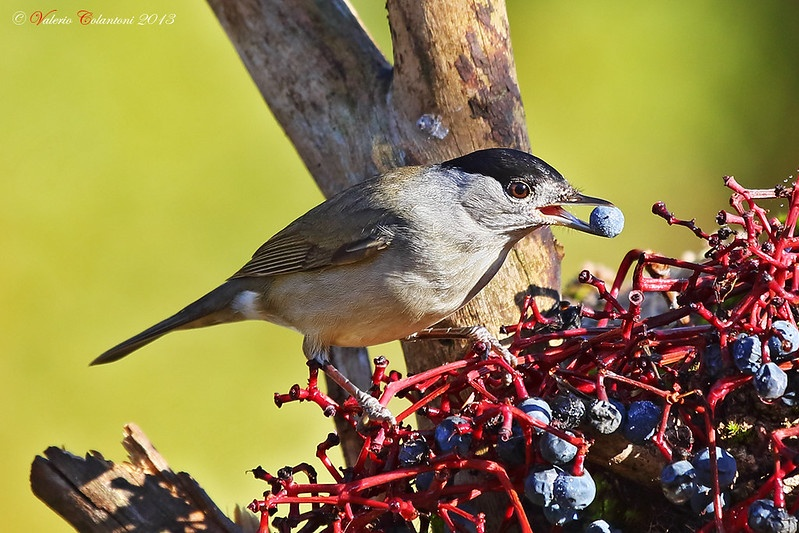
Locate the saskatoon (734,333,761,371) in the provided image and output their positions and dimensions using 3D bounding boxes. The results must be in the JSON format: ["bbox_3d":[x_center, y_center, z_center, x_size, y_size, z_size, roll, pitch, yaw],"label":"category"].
[{"bbox_3d":[1.087,0.273,3.116,0.075,0.105,0.098,5,-86,-4],"label":"saskatoon"}]

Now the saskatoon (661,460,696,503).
[{"bbox_3d":[0.865,0.663,3.040,0.099,0.137,0.129,1,-49,0],"label":"saskatoon"}]

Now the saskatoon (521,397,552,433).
[{"bbox_3d":[0.445,0.475,3.136,0.083,0.098,0.092,-20,-56,37],"label":"saskatoon"}]

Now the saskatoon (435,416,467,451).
[{"bbox_3d":[0.163,0.537,3.198,0.084,0.105,0.099,-1,-86,-48],"label":"saskatoon"}]

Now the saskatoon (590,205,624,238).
[{"bbox_3d":[0.781,-0.174,3.719,0.113,0.117,0.135,2,-30,10],"label":"saskatoon"}]

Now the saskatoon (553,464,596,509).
[{"bbox_3d":[0.539,0.686,3.041,0.125,0.079,0.104,8,-61,-26],"label":"saskatoon"}]

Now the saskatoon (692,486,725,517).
[{"bbox_3d":[0.949,0.736,3.046,0.053,0.087,0.122,-16,-53,-9],"label":"saskatoon"}]

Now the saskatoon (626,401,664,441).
[{"bbox_3d":[0.770,0.490,3.129,0.113,0.118,0.141,3,-91,20],"label":"saskatoon"}]

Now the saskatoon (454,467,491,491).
[{"bbox_3d":[0.261,0.783,3.714,0.125,0.168,0.063,1,-99,-5],"label":"saskatoon"}]

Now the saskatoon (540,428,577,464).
[{"bbox_3d":[0.490,0.562,3.049,0.092,0.083,0.097,4,-59,-24],"label":"saskatoon"}]

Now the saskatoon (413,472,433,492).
[{"bbox_3d":[0.083,0.708,3.254,0.072,0.077,0.058,-7,-19,27],"label":"saskatoon"}]
